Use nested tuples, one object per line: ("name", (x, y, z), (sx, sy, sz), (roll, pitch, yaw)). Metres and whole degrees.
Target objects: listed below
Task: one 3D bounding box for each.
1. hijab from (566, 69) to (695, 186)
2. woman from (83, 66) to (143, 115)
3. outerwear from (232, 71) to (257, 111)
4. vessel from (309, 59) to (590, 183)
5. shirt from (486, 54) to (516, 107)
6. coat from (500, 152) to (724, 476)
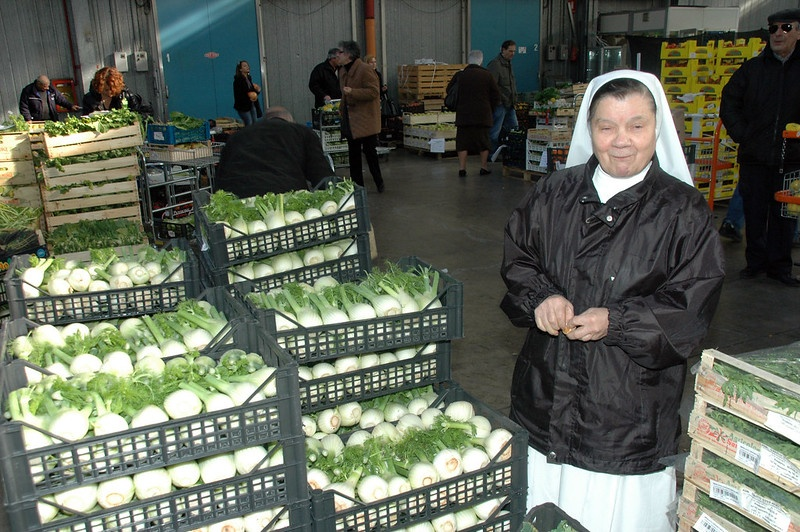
("hijab", (1.139, -0.628, 2.621), (0.556, 0.612, 0.186), (0, 16, 10))
("woman", (-4.824, -2.889, 9.141), (0.945, 0.779, 2.493), (-12, 22, -22))
("outerwear", (-3.692, -4.116, 12.987), (0.538, 0.894, 0.404), (-10, 21, -15))
("vessel", (0.797, -3.116, 11.901), (5.320, 2.136, 3.575), (-6, 15, -23))
("shirt", (2.448, -4.557, 13.346), (0.599, 1.014, 1.100), (8, 20, 33))
("coat", (0.932, 0.213, 2.575), (0.954, 1.344, 0.679), (8, 23, 29))
